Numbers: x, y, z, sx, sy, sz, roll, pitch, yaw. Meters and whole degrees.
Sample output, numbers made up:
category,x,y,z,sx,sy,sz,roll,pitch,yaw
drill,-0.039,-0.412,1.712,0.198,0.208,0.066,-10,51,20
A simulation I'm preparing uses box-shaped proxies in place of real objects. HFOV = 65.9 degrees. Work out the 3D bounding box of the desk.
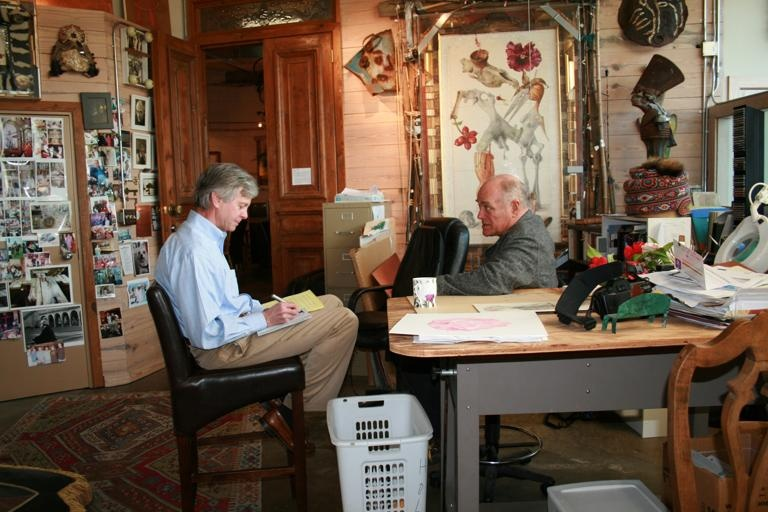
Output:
category,x,y,z,sx,sy,sz,roll,pitch,yaw
desk,0.786,0.537,2.618,1.740,0.751,0.876,-1,11,-2

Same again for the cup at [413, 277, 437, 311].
category,x,y,z,sx,sy,sz,roll,pitch,yaw
cup,0.217,0.192,3.123,0.159,0.149,0.138,1,3,25

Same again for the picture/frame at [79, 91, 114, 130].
category,x,y,z,sx,sy,sz,roll,pitch,yaw
picture/frame,-2.404,-1.209,4.970,0.020,0.286,0.240,17,22,31

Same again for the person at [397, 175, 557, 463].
category,x,y,z,sx,sy,sz,roll,pitch,yaw
person,0.603,0.255,3.733,0.941,1.443,0.677,-6,13,-17

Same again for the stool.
category,x,y,z,sx,sy,sz,roll,pitch,yaw
stool,0.664,1.172,3.573,0.723,0.375,0.657,-1,-3,-23

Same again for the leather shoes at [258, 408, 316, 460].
category,x,y,z,sx,sy,sz,roll,pitch,yaw
leather shoes,-0.546,0.978,3.394,0.364,0.124,0.274,37,-3,-9

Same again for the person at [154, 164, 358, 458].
category,x,y,z,sx,sy,sz,roll,pitch,yaw
person,-0.828,0.292,3.841,1.453,1.623,0.893,-1,13,-33
